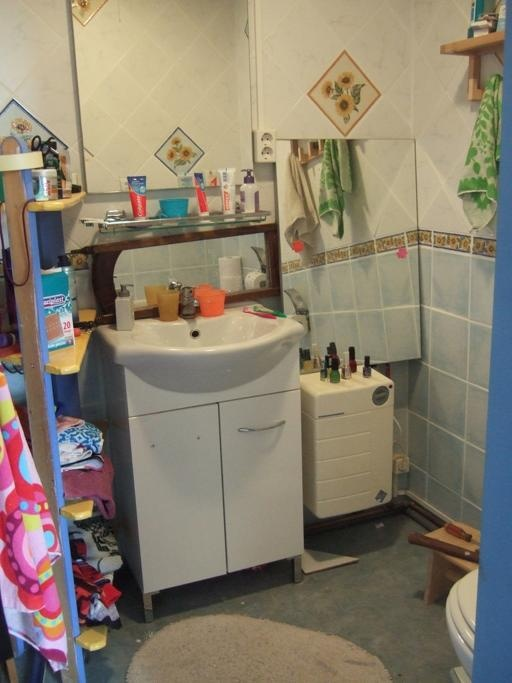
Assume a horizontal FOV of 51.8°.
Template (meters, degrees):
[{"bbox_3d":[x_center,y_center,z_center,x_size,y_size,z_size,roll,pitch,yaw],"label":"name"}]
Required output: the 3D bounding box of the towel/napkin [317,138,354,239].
[{"bbox_3d":[0.333,-0.636,2.208,0.165,0.392,0.025,-7,10,-27],"label":"towel/napkin"}]

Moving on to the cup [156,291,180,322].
[{"bbox_3d":[-0.321,-0.131,1.985,0.096,0.116,0.096,2,19,-1],"label":"cup"}]

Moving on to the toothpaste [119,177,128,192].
[{"bbox_3d":[-0.477,-0.562,1.878,0.035,0.055,0.028,-1,25,-10],"label":"toothpaste"}]

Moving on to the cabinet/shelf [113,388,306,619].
[{"bbox_3d":[-0.169,0.551,1.862,0.613,0.898,0.472,-6,14,-21],"label":"cabinet/shelf"}]

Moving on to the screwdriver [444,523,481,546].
[{"bbox_3d":[0.748,0.682,1.928,0.048,0.042,0.167,-5,9,-18],"label":"screwdriver"}]

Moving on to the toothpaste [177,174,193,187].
[{"bbox_3d":[-0.269,-0.599,1.958,0.039,0.039,0.015,-8,38,-12],"label":"toothpaste"}]

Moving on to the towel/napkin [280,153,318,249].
[{"bbox_3d":[0.179,-0.570,2.155,0.144,0.380,0.036,-8,11,-32],"label":"towel/napkin"}]

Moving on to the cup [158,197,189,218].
[{"bbox_3d":[-0.303,-0.482,1.913,0.097,0.078,0.128,-6,11,-21],"label":"cup"}]

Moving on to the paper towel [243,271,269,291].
[{"bbox_3d":[-0.001,-0.272,2.213,0.102,0.109,0.056,-22,33,-34],"label":"paper towel"}]

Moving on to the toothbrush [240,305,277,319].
[{"bbox_3d":[0.008,-0.134,1.985,0.044,0.031,0.244,-16,18,-20],"label":"toothbrush"}]

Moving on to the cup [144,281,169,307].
[{"bbox_3d":[-0.379,-0.184,1.996,0.082,0.076,0.076,2,14,0],"label":"cup"}]

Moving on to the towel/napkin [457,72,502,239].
[{"bbox_3d":[0.776,-0.653,1.835,0.127,0.521,0.283,1,10,21],"label":"towel/napkin"}]

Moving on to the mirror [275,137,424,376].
[{"bbox_3d":[0.376,-0.400,2.228,0.841,1.342,0.014,-7,17,-16],"label":"mirror"}]

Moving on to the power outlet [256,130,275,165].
[{"bbox_3d":[0.034,-0.764,2.058,0.099,0.155,0.047,-4,14,-19],"label":"power outlet"}]

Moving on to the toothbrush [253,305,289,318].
[{"bbox_3d":[0.053,-0.119,2.053,0.029,0.029,0.112,-37,35,-23],"label":"toothbrush"}]

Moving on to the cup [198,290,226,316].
[{"bbox_3d":[-0.165,-0.144,1.967,0.083,0.075,0.098,-6,14,-16],"label":"cup"}]

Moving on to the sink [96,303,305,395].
[{"bbox_3d":[-0.179,0.038,1.832,0.656,0.236,0.479,-7,11,-24],"label":"sink"}]
